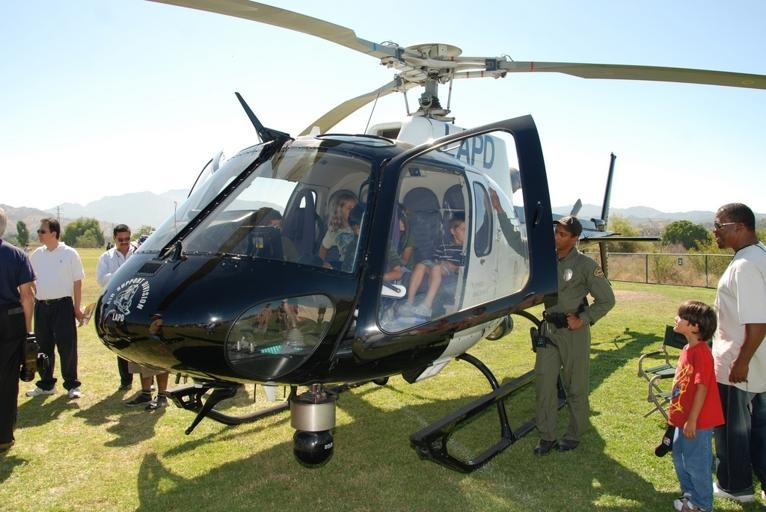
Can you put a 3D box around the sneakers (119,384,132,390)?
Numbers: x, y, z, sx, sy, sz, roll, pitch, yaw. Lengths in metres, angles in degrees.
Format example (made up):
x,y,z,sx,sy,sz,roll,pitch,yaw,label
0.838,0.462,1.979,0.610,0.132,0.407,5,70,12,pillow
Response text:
x,y,z,sx,sy,sz,roll,pitch,yaw,label
-3.288,1.679,6.815,0.056,0.048,0.120,1,-6,8,sneakers

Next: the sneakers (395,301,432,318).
x,y,z,sx,sy,sz,roll,pitch,yaw,label
0.265,0.478,4.590,0.247,0.092,0.128,19,-5,-31,sneakers

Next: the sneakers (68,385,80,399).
x,y,z,sx,sy,sz,roll,pitch,yaw,label
-3.743,1.654,6.492,0.139,0.051,0.134,5,15,-24,sneakers

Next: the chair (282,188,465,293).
x,y,z,sx,sy,sz,roll,pitch,yaw,label
-0.012,-0.153,4.925,0.867,0.667,1.202,-1,-18,40,chair

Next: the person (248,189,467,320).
x,y,z,sx,sy,sz,roll,pitch,yaw,label
-0.007,-0.054,4.915,1.408,0.829,1.386,23,-11,-39,person

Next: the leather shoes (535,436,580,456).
x,y,z,sx,sy,sz,roll,pitch,yaw,label
1.734,1.891,5.376,0.483,0.172,0.164,6,-5,-30,leather shoes

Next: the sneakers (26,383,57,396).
x,y,z,sx,sy,sz,roll,pitch,yaw,label
-4.212,1.663,6.591,0.307,0.110,0.112,7,-3,-16,sneakers

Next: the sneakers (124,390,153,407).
x,y,z,sx,sy,sz,roll,pitch,yaw,label
-2.872,1.696,6.351,0.381,0.197,0.150,3,-4,2,sneakers
